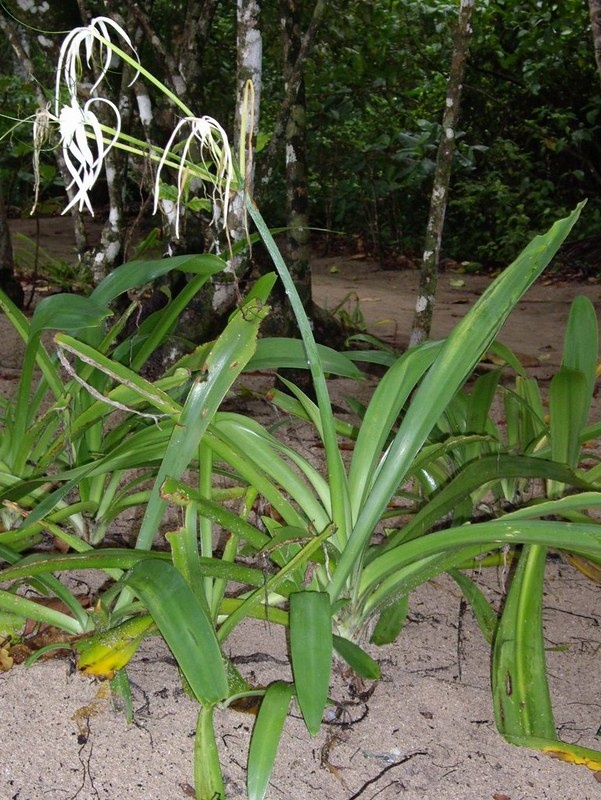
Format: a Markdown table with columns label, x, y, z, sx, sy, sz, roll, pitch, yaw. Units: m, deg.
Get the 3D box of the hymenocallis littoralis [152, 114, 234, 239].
| label | x | y | z | sx | sy | sz | roll | pitch | yaw |
| --- | --- | --- | --- | --- | --- | --- | --- | --- | --- |
| hymenocallis littoralis | -0.118 | -0.280 | 0.977 | 0.085 | 0.109 | 0.076 | -8 | 9 | -22 |
